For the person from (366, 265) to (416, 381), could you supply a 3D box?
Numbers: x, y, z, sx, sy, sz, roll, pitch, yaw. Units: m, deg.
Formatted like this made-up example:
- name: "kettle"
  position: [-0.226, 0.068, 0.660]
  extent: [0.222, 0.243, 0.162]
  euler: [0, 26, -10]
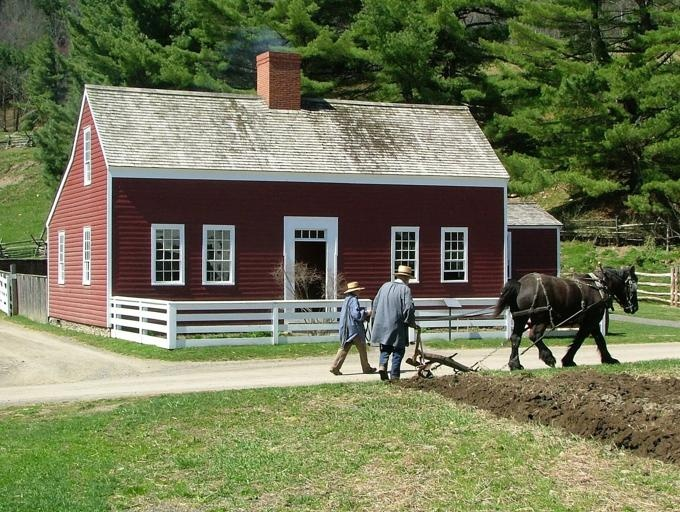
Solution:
- name: "person"
  position: [1.572, 1.990, 37.027]
  extent: [1.288, 3.366, 1.032]
  euler: [0, -1, 1]

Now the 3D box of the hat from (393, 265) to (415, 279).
- name: "hat"
  position: [2.018, 0.389, 37.540]
  extent: [0.530, 0.246, 0.610]
  euler: [13, -18, 19]
